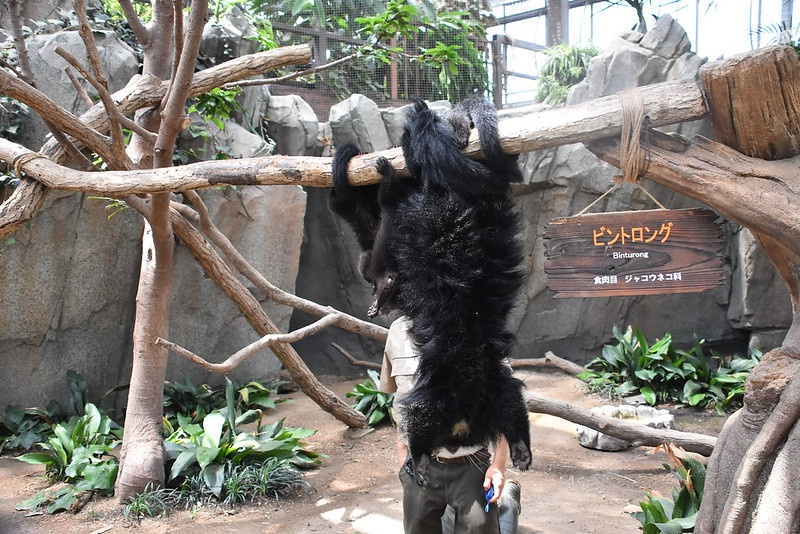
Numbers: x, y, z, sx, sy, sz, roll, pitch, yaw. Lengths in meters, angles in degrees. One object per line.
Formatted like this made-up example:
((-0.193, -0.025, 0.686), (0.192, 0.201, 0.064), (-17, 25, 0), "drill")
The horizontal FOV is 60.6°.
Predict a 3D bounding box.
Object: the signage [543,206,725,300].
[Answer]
((1.624, -0.102, 4.721), (1.549, 0.755, 0.209), (-1, -3, 7), "signage")
